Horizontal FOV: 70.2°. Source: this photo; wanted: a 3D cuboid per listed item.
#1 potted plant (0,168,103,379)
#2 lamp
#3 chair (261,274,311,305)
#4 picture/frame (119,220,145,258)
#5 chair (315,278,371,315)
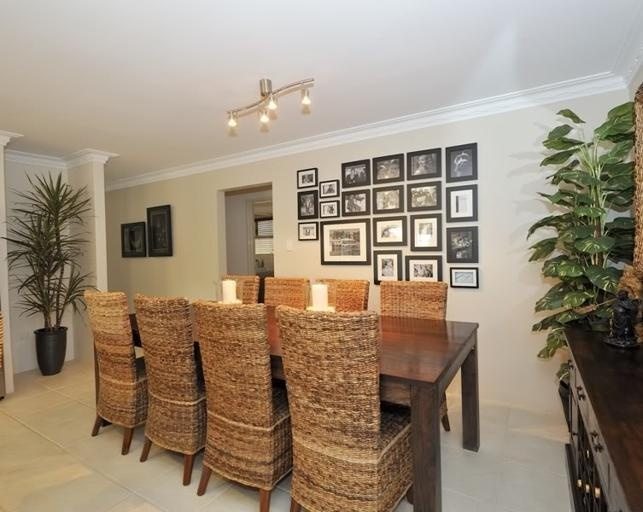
[{"bbox_3d":[-2.986,0.196,5.132,0.902,2.191,1.108,-8,14,-27],"label":"potted plant"},{"bbox_3d":[-0.420,-1.209,3.555,0.427,0.187,0.374,-6,7,31],"label":"lamp"},{"bbox_3d":[-0.296,0.321,4.042,0.286,0.264,0.569,-9,15,-33],"label":"chair"},{"bbox_3d":[-2.745,-0.233,6.654,0.421,0.447,0.016,-1,1,21],"label":"picture/frame"},{"bbox_3d":[0.150,0.296,3.587,0.289,0.415,0.312,-4,-10,24],"label":"chair"}]
